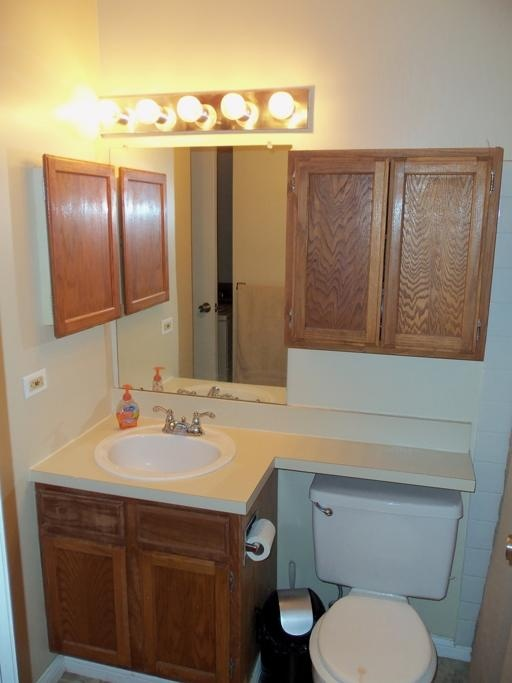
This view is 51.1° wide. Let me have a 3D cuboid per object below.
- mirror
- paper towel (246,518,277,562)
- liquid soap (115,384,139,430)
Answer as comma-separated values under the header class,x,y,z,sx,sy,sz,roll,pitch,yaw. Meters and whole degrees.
class,x,y,z,sx,sy,sz,roll,pitch,yaw
mirror,-0.179,-0.272,1.983,0.603,1.407,0.406,5,16,10
paper towel,0.014,0.604,1.641,0.075,0.090,0.127,3,15,9
liquid soap,-0.481,0.247,2.025,0.079,0.195,0.043,-7,32,-19
